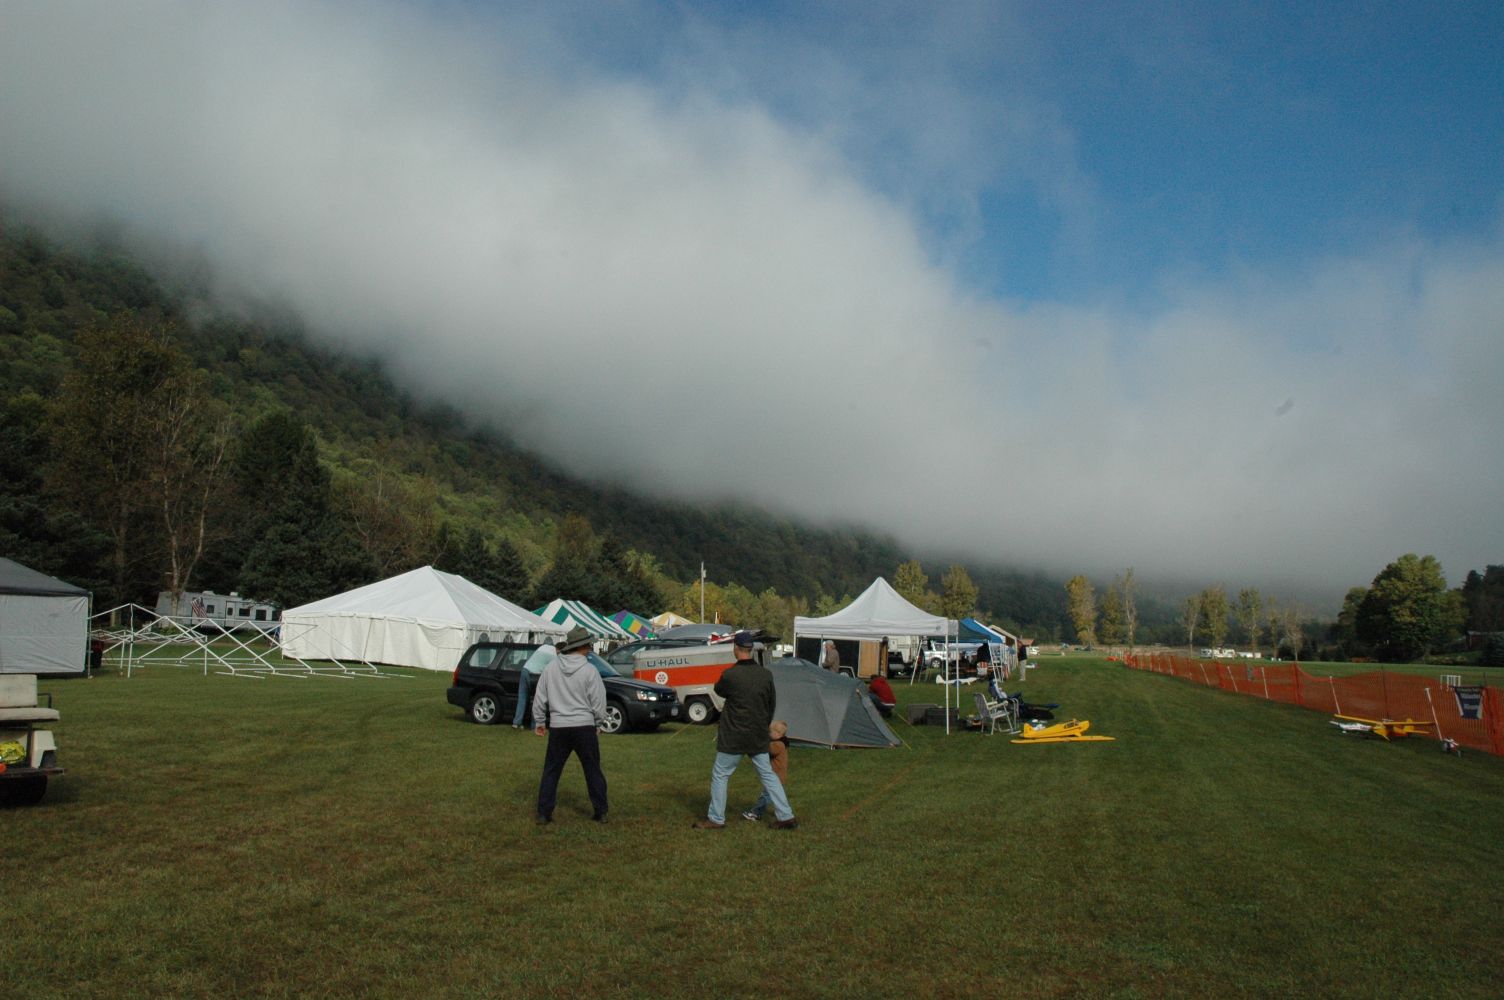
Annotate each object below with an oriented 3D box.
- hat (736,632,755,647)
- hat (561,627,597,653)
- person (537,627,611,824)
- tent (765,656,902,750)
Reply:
[{"bbox_3d":[-0.121,2.371,16.298,0.374,0.193,0.515,2,-6,-4],"label":"hat"},{"bbox_3d":[-2.693,2.211,15.332,0.456,0.172,0.468,-17,-11,17],"label":"hat"},{"bbox_3d":[-2.827,3.507,15.180,1.148,2.940,1.027,3,-4,-12],"label":"person"},{"bbox_3d":[1.935,5.014,23.378,2.968,1.206,2.387,0,1,33],"label":"tent"}]
